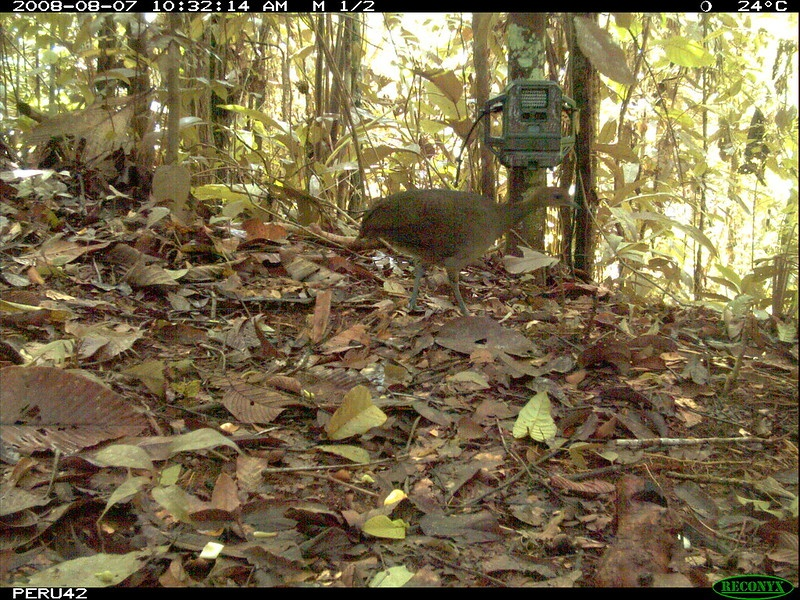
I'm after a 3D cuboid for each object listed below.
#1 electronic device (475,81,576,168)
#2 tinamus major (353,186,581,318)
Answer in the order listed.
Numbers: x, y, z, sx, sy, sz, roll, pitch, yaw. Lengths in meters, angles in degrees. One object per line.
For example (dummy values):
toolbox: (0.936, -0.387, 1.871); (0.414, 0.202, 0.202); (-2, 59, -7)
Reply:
electronic device: (0.568, -0.823, 3.014); (0.566, 0.388, 0.276); (-7, 17, -21)
tinamus major: (0.254, -0.242, 2.600); (0.901, 0.468, 0.246); (3, 15, -7)
